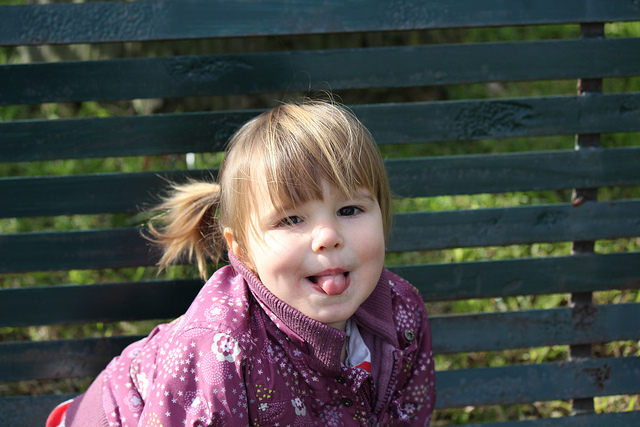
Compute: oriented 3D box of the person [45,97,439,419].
[{"bbox_3d":[-0.222,0.215,3.839,1.345,1.330,0.671,-5,-21,6],"label":"person"}]
